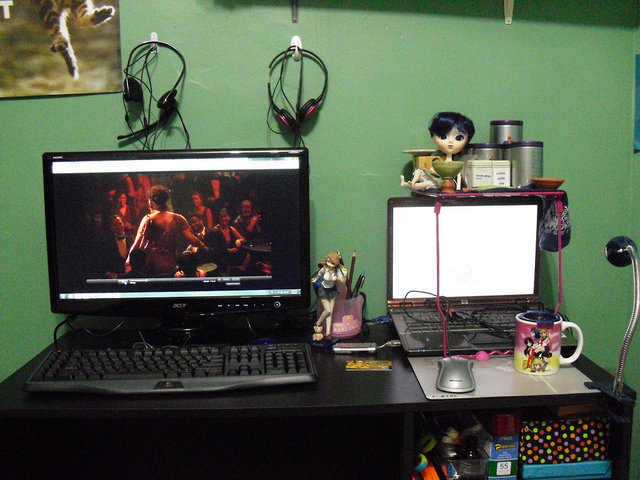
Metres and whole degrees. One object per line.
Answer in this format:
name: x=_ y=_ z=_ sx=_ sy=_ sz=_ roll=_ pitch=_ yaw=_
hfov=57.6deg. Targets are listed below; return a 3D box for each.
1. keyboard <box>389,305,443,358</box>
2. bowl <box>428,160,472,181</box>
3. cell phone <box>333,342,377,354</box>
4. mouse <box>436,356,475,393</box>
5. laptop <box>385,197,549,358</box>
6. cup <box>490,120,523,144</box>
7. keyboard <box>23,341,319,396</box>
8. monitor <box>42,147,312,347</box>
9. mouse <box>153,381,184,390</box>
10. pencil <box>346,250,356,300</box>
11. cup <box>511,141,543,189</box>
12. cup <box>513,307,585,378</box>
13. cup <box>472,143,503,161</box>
keyboard: x=0.297 y=0.275 z=1.735 sx=0.117 sy=0.023 sz=0.161 roll=4 pitch=20 yaw=-7
bowl: x=0.402 y=-0.209 z=1.770 sx=0.089 sy=0.062 sz=0.090 roll=-1 pitch=0 yaw=0
cell phone: x=0.106 y=0.317 z=1.708 sx=0.084 sy=0.017 sz=0.048 roll=0 pitch=5 yaw=0
mouse: x=0.370 y=0.344 z=1.562 sx=0.108 sy=0.055 sz=0.166 roll=-2 pitch=18 yaw=20
laptop: x=0.463 y=0.083 z=1.710 sx=0.543 sy=0.358 sz=0.409 roll=0 pitch=12 yaw=7
cup: x=0.600 y=-0.346 z=1.866 sx=0.087 sy=0.094 sz=0.084 roll=0 pitch=2 yaw=0
keyboard: x=-0.389 y=0.355 z=1.585 sx=0.769 sy=0.103 sz=0.183 roll=-4 pitch=14 yaw=-1
monitor: x=-0.428 y=0.023 z=1.822 sx=0.796 sy=0.595 sz=0.224 roll=-1 pitch=14 yaw=-1
mouse: x=-0.390 y=0.379 z=1.515 sx=0.074 sy=0.010 sz=0.027 roll=-3 pitch=14 yaw=3
pencil: x=0.100 y=0.111 z=1.856 sx=0.011 sy=0.150 sz=0.012 roll=8 pitch=7 yaw=-24
cup: x=0.653 y=-0.237 z=1.821 sx=0.095 sy=0.136 sz=0.076 roll=-1 pitch=14 yaw=12
cup: x=0.620 y=0.282 z=1.595 sx=0.188 sy=0.157 sz=0.094 roll=-9 pitch=14 yaw=-19
cup: x=0.532 y=-0.278 z=1.831 sx=0.066 sy=0.041 sz=0.067 roll=1 pitch=3 yaw=0
